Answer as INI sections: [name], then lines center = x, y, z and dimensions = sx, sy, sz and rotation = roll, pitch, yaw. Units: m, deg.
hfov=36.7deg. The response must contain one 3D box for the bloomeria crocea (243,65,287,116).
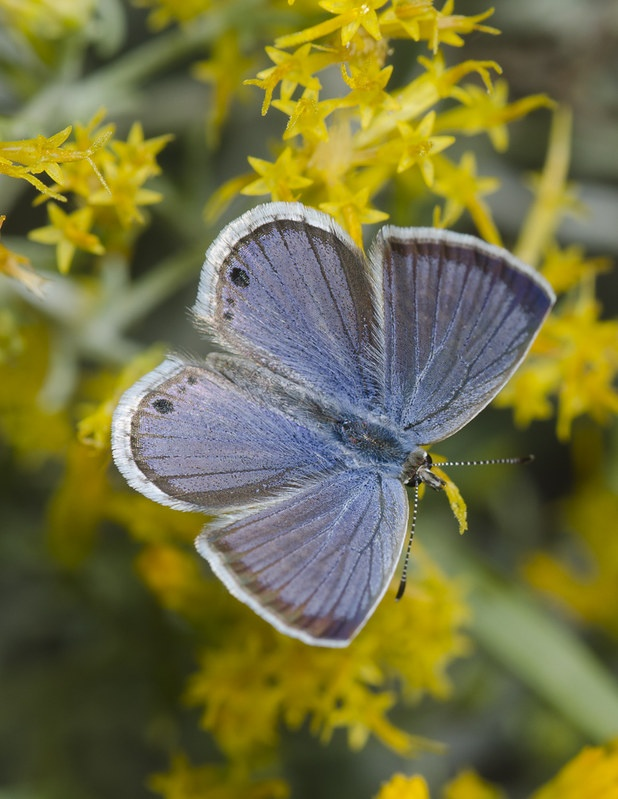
[bloomeria crocea]
center = -0.033, -0.251, 0.752
dimensions = 0.039, 0.013, 0.051
rotation = 23, 32, -6

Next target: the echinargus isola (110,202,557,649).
[echinargus isola]
center = 0.018, 0.013, 0.819
dimensions = 0.316, 0.374, 0.112
rotation = 29, 19, 25
